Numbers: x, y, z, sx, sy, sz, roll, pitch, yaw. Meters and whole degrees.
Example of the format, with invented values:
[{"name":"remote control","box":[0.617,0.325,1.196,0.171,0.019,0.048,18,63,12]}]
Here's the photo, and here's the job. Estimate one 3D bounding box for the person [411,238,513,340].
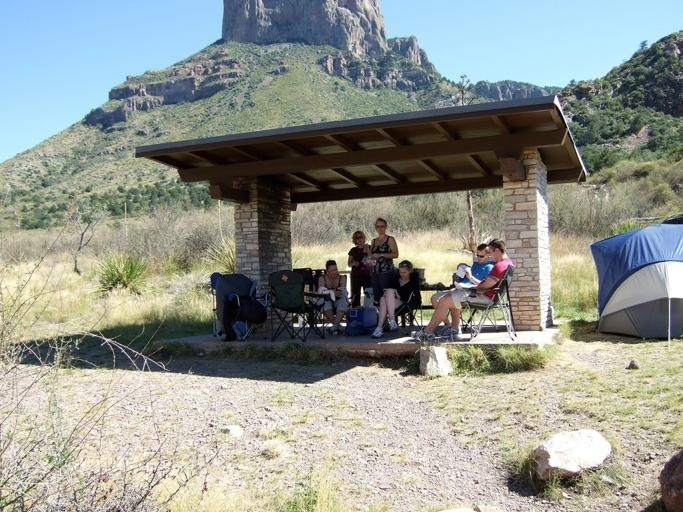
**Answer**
[{"name":"person","box":[1.725,0.456,8.814,1.327,1.488,0.718,0,12,-5]}]
